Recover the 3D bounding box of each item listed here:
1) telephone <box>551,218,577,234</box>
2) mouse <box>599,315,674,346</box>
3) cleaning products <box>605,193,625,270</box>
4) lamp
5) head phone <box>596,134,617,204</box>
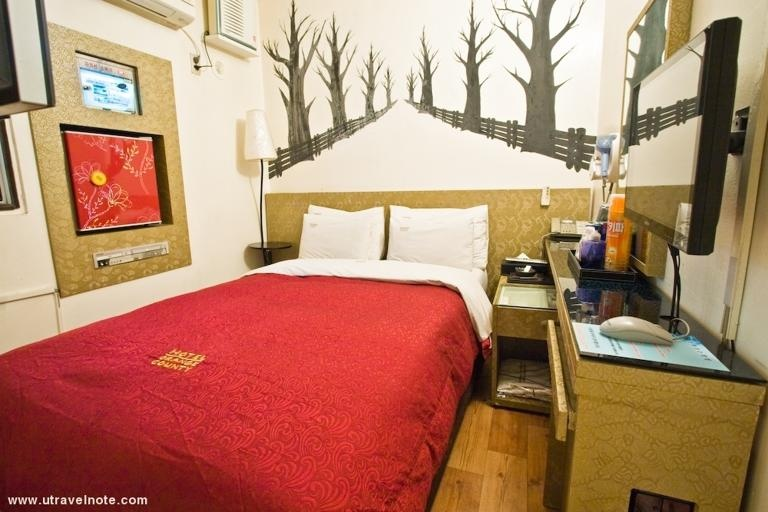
[{"bbox_3d":[1.249,-0.210,3.259,0.170,0.101,0.036,2,13,0],"label":"telephone"},{"bbox_3d":[0.898,0.254,1.655,0.194,0.064,0.110,-1,5,8],"label":"mouse"},{"bbox_3d":[1.109,-0.104,2.217,0.082,0.351,0.084,4,13,24],"label":"cleaning products"},{"bbox_3d":[-0.974,-0.606,3.888,0.329,1.152,0.473,-3,14,-17],"label":"lamp"},{"bbox_3d":[1.301,-0.515,2.766,0.120,0.396,0.349,7,14,23],"label":"head phone"}]
